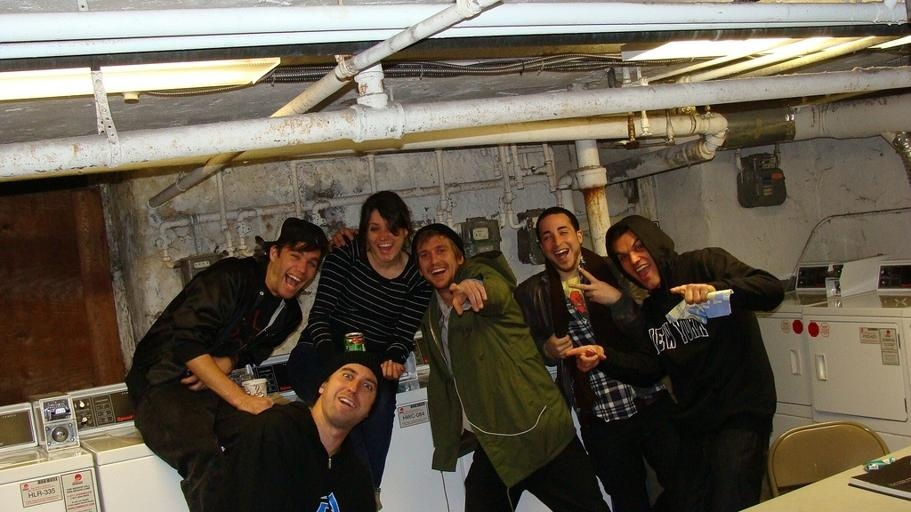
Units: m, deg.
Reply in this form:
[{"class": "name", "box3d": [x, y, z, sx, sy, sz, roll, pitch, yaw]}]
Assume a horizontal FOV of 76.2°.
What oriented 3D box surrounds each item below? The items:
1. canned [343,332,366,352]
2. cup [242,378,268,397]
[{"class": "canned", "box3d": [-0.695, 0.606, 4.051, 0.169, 0.150, 0.151, -2, -10, 3]}, {"class": "cup", "box3d": [-1.442, 0.973, 4.245, 0.178, 0.102, 0.152, 12, -18, -42]}]
